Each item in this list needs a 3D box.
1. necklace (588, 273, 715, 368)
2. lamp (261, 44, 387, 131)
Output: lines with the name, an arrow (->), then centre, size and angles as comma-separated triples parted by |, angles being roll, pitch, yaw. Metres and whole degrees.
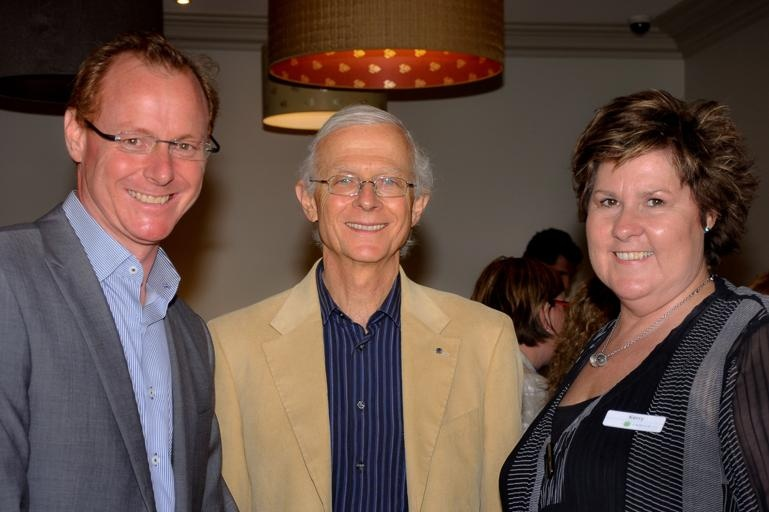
necklace -> 0.964, 0.283, 2.751 | 0.045, 0.637, 0.202 | 36, 30, -8
lamp -> -0.458, -0.945, 4.781 | 0.766, 0.506, 0.786 | 0, 1, 6
